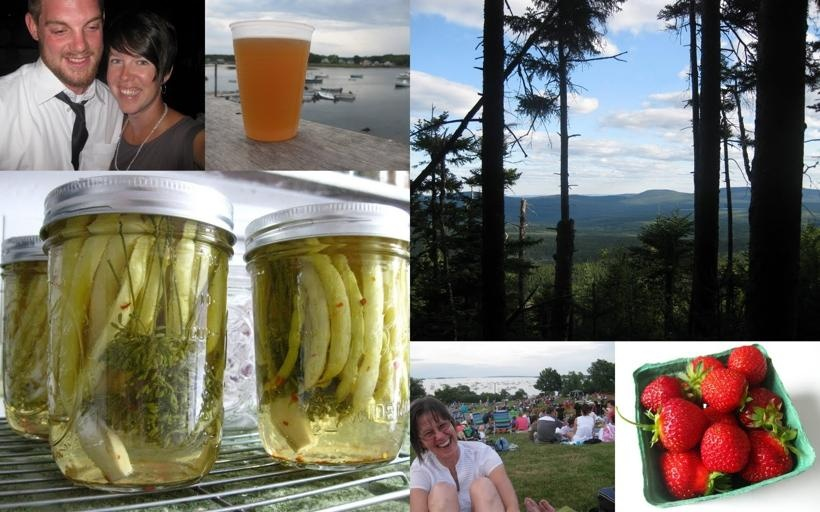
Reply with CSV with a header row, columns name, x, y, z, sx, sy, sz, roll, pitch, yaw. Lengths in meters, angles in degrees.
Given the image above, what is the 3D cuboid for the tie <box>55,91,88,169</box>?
name,x,y,z,sx,sy,sz,roll,pitch,yaw
tie,-0.682,-0.267,1.241,0.067,0.174,0.028,0,-20,-31

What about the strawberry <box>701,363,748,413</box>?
name,x,y,z,sx,sy,sz,roll,pitch,yaw
strawberry,0.782,0.333,1.573,0.111,0.113,0.102,-18,0,16

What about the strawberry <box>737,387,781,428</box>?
name,x,y,z,sx,sy,sz,roll,pitch,yaw
strawberry,0.874,0.380,1.549,0.104,0.106,0.103,-5,-34,35

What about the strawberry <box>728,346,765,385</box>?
name,x,y,z,sx,sy,sz,roll,pitch,yaw
strawberry,0.854,0.276,1.538,0.094,0.098,0.089,-7,-5,5

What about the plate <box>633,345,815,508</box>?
name,x,y,z,sx,sy,sz,roll,pitch,yaw
plate,0.698,0.453,1.637,0.445,0.381,0.113,-12,-7,7

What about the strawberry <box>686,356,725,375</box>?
name,x,y,z,sx,sy,sz,roll,pitch,yaw
strawberry,0.752,0.276,1.546,0.063,0.035,0.047,-2,12,11

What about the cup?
name,x,y,z,sx,sy,sz,roll,pitch,yaw
cup,-0.232,-0.365,1.297,0.227,0.232,0.204,2,7,2

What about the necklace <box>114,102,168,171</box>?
name,x,y,z,sx,sy,sz,roll,pitch,yaw
necklace,-0.544,-0.234,1.261,0.084,0.151,0.038,24,7,3
